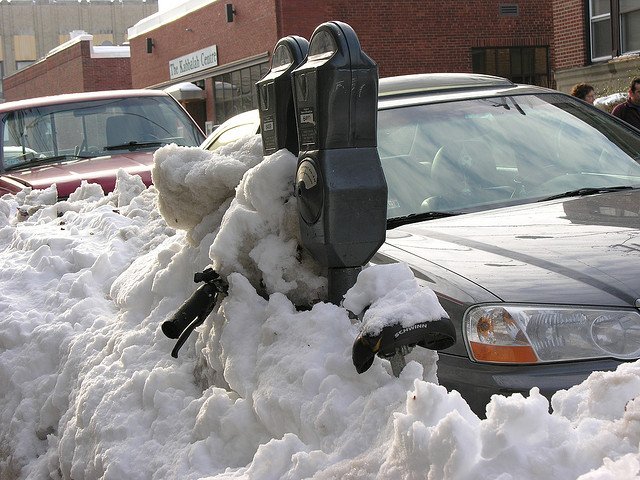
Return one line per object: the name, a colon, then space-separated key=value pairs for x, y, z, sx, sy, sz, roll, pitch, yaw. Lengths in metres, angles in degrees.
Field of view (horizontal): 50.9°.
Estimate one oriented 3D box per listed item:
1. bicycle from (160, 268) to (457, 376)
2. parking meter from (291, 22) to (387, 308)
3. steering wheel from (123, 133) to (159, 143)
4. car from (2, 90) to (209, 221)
bicycle: x=-0.039 y=0.292 z=2.407 sx=1.044 sy=0.251 sz=0.428 roll=1 pitch=18 yaw=21
parking meter: x=0.079 y=-0.284 z=2.518 sx=0.332 sy=1.019 sz=0.283 roll=0 pitch=15 yaw=17
steering wheel: x=-1.981 y=-1.156 z=7.333 sx=0.480 sy=0.094 sz=0.064 roll=-7 pitch=48 yaw=-7
car: x=-2.166 y=-1.069 z=6.629 sx=1.507 sy=1.393 sz=2.466 roll=-5 pitch=-1 yaw=-35
